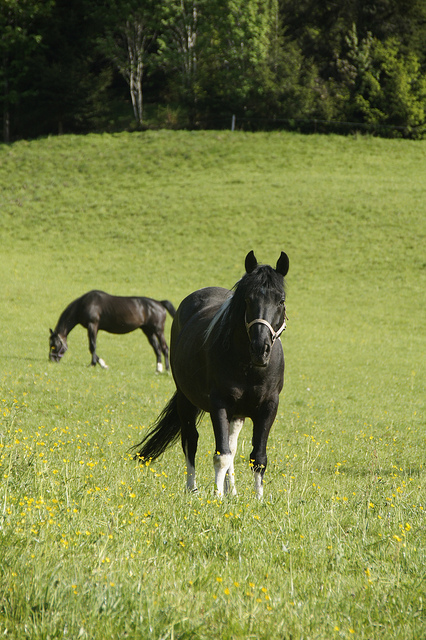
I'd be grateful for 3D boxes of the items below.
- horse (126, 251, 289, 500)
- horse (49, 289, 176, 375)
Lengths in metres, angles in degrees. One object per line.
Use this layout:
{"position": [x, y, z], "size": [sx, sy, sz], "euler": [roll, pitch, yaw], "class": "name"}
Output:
{"position": [-0.880, 2.543, 53.223], "size": [3.970, 9.261, 11.771], "euler": [2, -8, -12], "class": "horse"}
{"position": [-5.157, 0.479, 63.470], "size": [6.747, 5.375, 2.097], "euler": [0, 20, -11], "class": "horse"}
